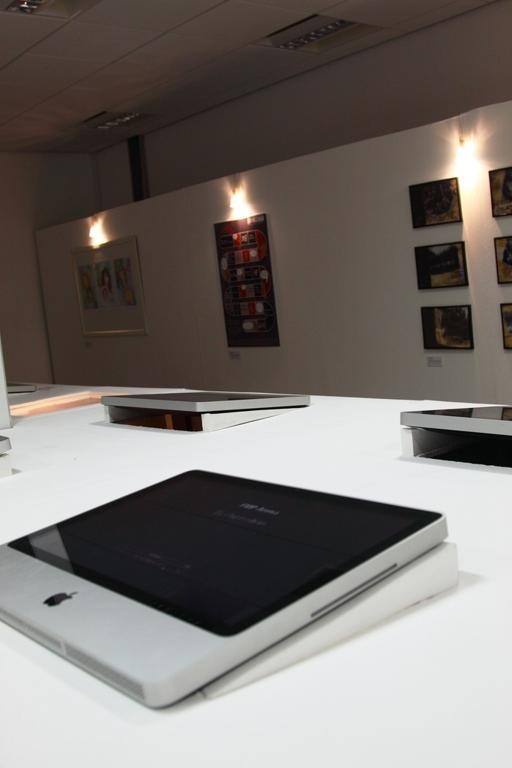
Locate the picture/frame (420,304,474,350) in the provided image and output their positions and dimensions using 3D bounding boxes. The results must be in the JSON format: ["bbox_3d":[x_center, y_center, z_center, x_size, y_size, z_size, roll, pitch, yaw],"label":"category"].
[{"bbox_3d":[1.506,-0.442,4.353,0.082,0.378,0.398,-11,6,-40],"label":"picture/frame"}]

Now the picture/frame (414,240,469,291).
[{"bbox_3d":[1.439,-0.918,4.287,0.373,0.339,0.056,6,12,36],"label":"picture/frame"}]
